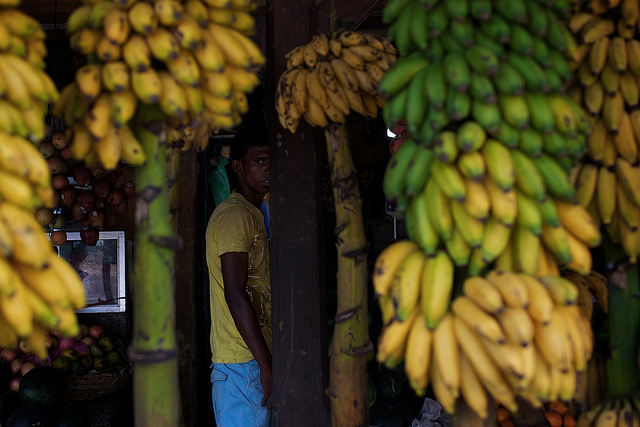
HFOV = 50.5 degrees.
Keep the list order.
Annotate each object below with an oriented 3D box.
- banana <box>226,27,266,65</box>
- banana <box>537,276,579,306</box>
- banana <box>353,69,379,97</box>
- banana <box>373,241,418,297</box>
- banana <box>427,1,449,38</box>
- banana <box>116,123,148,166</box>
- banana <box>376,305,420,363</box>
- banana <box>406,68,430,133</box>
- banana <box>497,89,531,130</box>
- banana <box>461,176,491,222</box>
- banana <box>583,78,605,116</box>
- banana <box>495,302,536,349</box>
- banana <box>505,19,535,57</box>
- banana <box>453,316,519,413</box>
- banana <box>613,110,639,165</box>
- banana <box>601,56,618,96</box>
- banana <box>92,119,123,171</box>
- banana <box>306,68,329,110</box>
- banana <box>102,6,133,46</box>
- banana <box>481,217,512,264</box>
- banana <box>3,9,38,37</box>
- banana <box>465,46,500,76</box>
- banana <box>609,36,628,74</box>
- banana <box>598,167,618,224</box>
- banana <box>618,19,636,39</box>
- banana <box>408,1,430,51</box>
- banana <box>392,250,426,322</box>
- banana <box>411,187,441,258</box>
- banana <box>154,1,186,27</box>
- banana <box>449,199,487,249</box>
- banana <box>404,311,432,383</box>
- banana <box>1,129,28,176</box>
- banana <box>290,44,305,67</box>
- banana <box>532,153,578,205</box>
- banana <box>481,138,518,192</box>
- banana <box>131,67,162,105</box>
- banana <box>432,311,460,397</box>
[{"bbox_3d":[-0.264,-0.660,2.545,0.177,0.061,0.049,17,-49,-39],"label":"banana"},{"bbox_3d":[0.827,0.269,2.357,0.063,0.054,0.136,6,6,-26],"label":"banana"},{"bbox_3d":[0.203,-0.531,2.748,0.089,0.025,0.028,-41,21,13],"label":"banana"},{"bbox_3d":[0.275,0.168,2.439,0.115,0.217,0.068,24,-13,23],"label":"banana"},{"bbox_3d":[0.409,-0.674,2.368,0.042,0.168,0.056,3,-16,1],"label":"banana"},{"bbox_3d":[-0.649,-0.243,2.357,0.035,0.144,0.048,-32,-19,1],"label":"banana"},{"bbox_3d":[0.260,0.431,2.423,0.067,0.264,0.083,28,-6,21],"label":"banana"},{"bbox_3d":[0.336,-0.391,2.367,0.060,0.253,0.077,7,-9,27],"label":"banana"},{"bbox_3d":[0.697,-0.378,2.434,0.119,0.096,0.261,10,-14,21],"label":"banana"},{"bbox_3d":[0.529,-0.051,2.372,0.078,0.173,0.055,-6,-23,-23],"label":"banana"},{"bbox_3d":[1.099,-0.464,2.719,0.071,0.142,0.048,15,-6,7],"label":"banana"},{"bbox_3d":[0.686,0.387,2.344,0.108,0.095,0.239,-14,20,9],"label":"banana"},{"bbox_3d":[0.701,-0.648,2.455,0.104,0.077,0.224,23,37,13],"label":"banana"},{"bbox_3d":[0.565,0.501,2.301,0.074,0.344,0.083,-37,-15,23],"label":"banana"},{"bbox_3d":[1.209,-0.290,2.675,0.063,0.240,0.072,-6,-7,-4],"label":"banana"},{"bbox_3d":[1.142,-0.542,2.683,0.042,0.150,0.040,-5,1,0],"label":"banana"},{"bbox_3d":[-0.727,-0.212,2.350,0.060,0.252,0.078,5,-23,-33],"label":"banana"},{"bbox_3d":[-0.013,-0.505,2.739,0.061,0.208,0.056,-21,-10,14],"label":"banana"},{"bbox_3d":[-0.707,-0.649,2.413,0.081,0.145,0.081,-20,-21,10],"label":"banana"},{"bbox_3d":[0.620,0.088,2.394,0.089,0.200,0.068,11,-28,24],"label":"banana"},{"bbox_3d":[-1.016,-0.646,2.303,0.120,0.064,0.040,32,-19,-21],"label":"banana"},{"bbox_3d":[0.562,-0.528,2.337,0.069,0.123,0.040,-27,-30,-8],"label":"banana"},{"bbox_3d":[1.164,-0.624,2.651,0.064,0.150,0.047,1,-25,11],"label":"banana"},{"bbox_3d":[1.127,-0.078,2.665,0.059,0.226,0.062,11,-13,-11],"label":"banana"},{"bbox_3d":[1.217,-0.728,2.693,0.051,0.079,0.043,-5,3,3],"label":"banana"},{"bbox_3d":[0.350,-0.664,2.396,0.064,0.209,0.051,-1,-11,-5],"label":"banana"},{"bbox_3d":[0.313,0.253,2.379,0.077,0.277,0.083,9,-14,2],"label":"banana"},{"bbox_3d":[0.364,0.043,2.362,0.071,0.286,0.085,0,-8,-44],"label":"banana"},{"bbox_3d":[-0.522,-0.702,2.372,0.070,0.093,0.074,-40,-24,-40],"label":"banana"},{"bbox_3d":[0.505,0.040,2.345,0.088,0.179,0.060,-24,-5,0],"label":"banana"},{"bbox_3d":[0.339,0.467,2.355,0.082,0.218,0.072,-1,0,-29],"label":"banana"},{"bbox_3d":[-0.989,-0.190,2.221,0.049,0.195,0.061,-17,-17,-30],"label":"banana"},{"bbox_3d":[-0.089,-0.658,2.833,0.050,0.075,0.022,29,-5,16],"label":"banana"},{"bbox_3d":[0.824,-0.125,2.409,0.048,0.171,0.056,-28,-10,-44],"label":"banana"},{"bbox_3d":[0.624,-0.171,2.400,0.084,0.198,0.068,-8,-26,-18],"label":"banana"},{"bbox_3d":[-0.610,-0.449,2.402,0.073,0.137,0.074,-9,-29,-37],"label":"banana"},{"bbox_3d":[0.431,0.485,2.347,0.065,0.271,0.083,-19,-18,17],"label":"banana"}]
